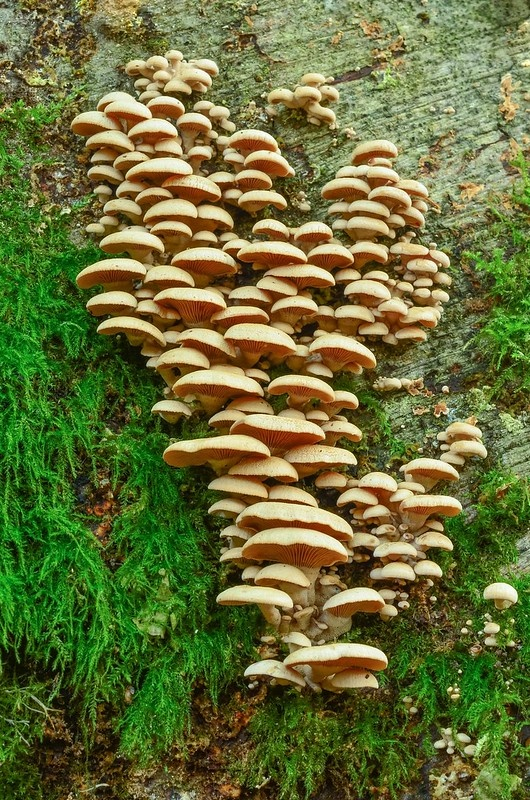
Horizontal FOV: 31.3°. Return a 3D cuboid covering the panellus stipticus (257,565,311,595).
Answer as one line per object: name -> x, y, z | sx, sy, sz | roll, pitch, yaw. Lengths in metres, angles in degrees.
panellus stipticus -> 0.094, 0.961, 5.118 | 0.252, 0.066, 0.209 | 9, -26, 12

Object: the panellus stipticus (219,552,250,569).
panellus stipticus -> -0.171, 0.910, 5.418 | 0.165, 0.078, 0.164 | -12, -19, 43

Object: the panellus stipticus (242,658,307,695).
panellus stipticus -> 0.087, 1.540, 5.305 | 0.269, 0.075, 0.262 | 8, -15, 24

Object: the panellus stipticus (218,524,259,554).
panellus stipticus -> -0.180, 0.798, 5.413 | 0.217, 0.098, 0.216 | -27, -31, 30

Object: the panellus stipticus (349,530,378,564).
panellus stipticus -> 0.599, 0.866, 5.509 | 0.197, 0.129, 0.192 | 2, -12, 18
